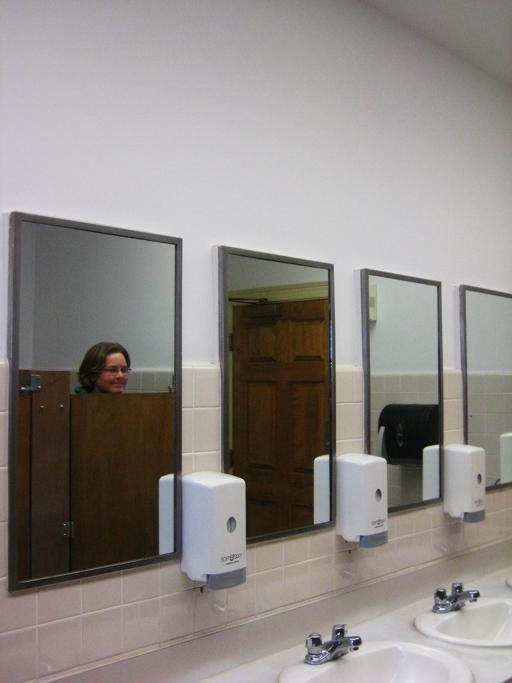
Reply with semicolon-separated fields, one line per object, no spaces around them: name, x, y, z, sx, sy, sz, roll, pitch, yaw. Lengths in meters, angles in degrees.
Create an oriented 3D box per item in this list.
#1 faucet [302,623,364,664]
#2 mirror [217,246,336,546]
faucet;0.191;0.758;1.572;0.149;0.061;0.069;-5;2;-44
mirror;0.075;0.150;1.722;0.444;0.794;0.034;0;-2;-43
